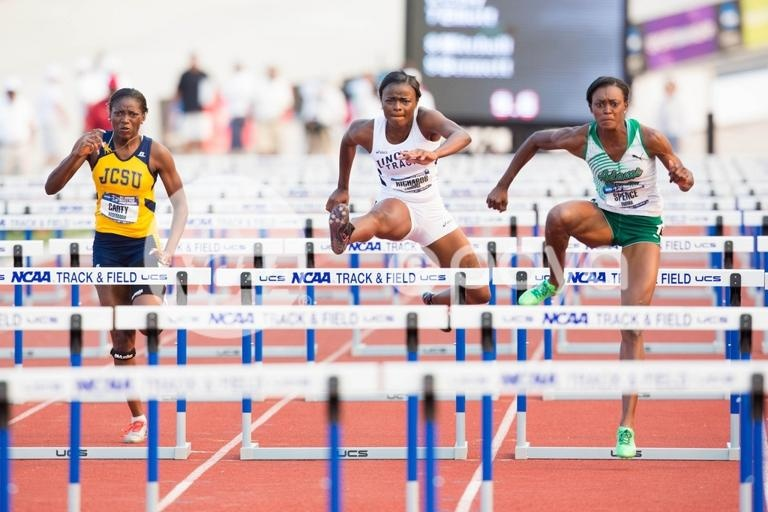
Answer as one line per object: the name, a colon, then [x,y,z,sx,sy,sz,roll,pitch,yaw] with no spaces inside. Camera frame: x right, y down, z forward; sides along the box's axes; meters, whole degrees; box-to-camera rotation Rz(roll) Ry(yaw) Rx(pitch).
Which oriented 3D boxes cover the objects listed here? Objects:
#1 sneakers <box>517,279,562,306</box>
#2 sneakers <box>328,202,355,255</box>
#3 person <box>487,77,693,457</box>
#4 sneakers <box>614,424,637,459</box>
sneakers: [1.233,0.280,8.681,0.364,0.120,0.142,-29,-9,-14]
sneakers: [-0.346,-0.229,8.567,0.184,0.395,0.253,0,-1,-1]
person: [1.662,-0.506,8.399,1.382,1.751,0.584,0,-1,15]
sneakers: [1.769,1.357,7.952,0.122,0.231,0.138,0,-1,10]
